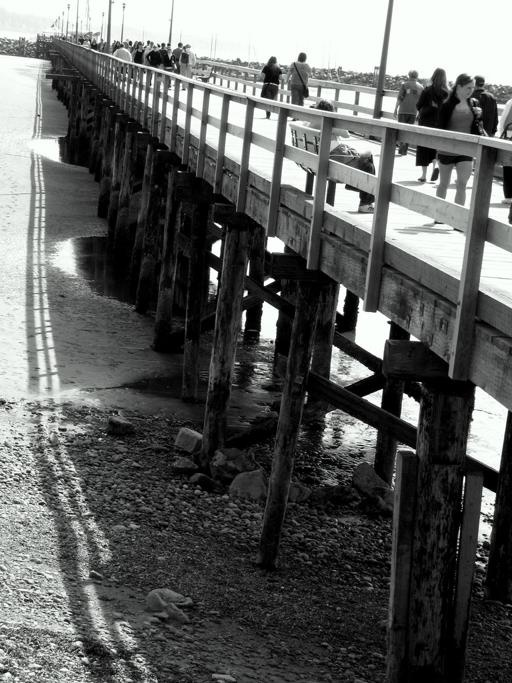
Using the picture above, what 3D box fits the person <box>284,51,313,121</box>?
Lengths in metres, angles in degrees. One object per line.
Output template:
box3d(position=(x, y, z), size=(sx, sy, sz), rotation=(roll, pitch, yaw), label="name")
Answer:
box3d(position=(0.909, -5.459, 15.281), size=(0.485, 1.053, 1.102), rotation=(11, 11, -2), label="person")

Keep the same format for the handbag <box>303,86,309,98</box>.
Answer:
box3d(position=(1.028, -5.256, 15.317), size=(0.092, 0.220, 0.251), rotation=(14, 11, 13), label="handbag")

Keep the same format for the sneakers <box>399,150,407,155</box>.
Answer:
box3d(position=(2.686, -3.468, 13.395), size=(0.100, 0.046, 0.130), rotation=(-1, 6, -33), label="sneakers")

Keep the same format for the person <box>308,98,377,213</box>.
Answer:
box3d(position=(0.771, -1.488, 5.970), size=(0.449, 0.741, 0.285), rotation=(-4, 3, -15), label="person")
